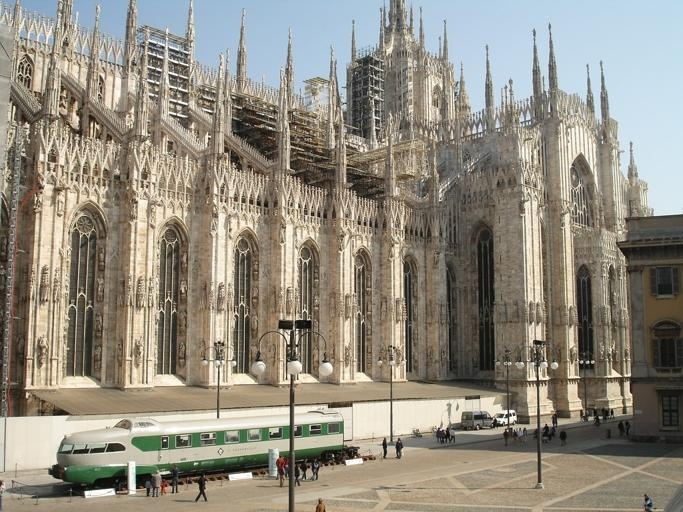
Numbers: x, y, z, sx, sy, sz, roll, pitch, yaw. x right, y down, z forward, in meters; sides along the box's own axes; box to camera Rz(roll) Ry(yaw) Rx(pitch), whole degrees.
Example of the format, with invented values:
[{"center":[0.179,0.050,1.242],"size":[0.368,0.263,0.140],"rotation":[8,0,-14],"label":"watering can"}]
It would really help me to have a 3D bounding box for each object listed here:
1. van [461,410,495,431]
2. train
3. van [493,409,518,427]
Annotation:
[{"center":[11.822,14.375,95.553],"size":[3.004,1.631,0.945],"rotation":[5,-13,-34],"label":"van"},{"center":[-10.197,12.595,70.609],"size":[22.414,3.709,3.737],"rotation":[5,-8,-40],"label":"train"},{"center":[14.763,14.237,96.619],"size":[2.333,1.241,1.328],"rotation":[14,-23,-41],"label":"van"}]
